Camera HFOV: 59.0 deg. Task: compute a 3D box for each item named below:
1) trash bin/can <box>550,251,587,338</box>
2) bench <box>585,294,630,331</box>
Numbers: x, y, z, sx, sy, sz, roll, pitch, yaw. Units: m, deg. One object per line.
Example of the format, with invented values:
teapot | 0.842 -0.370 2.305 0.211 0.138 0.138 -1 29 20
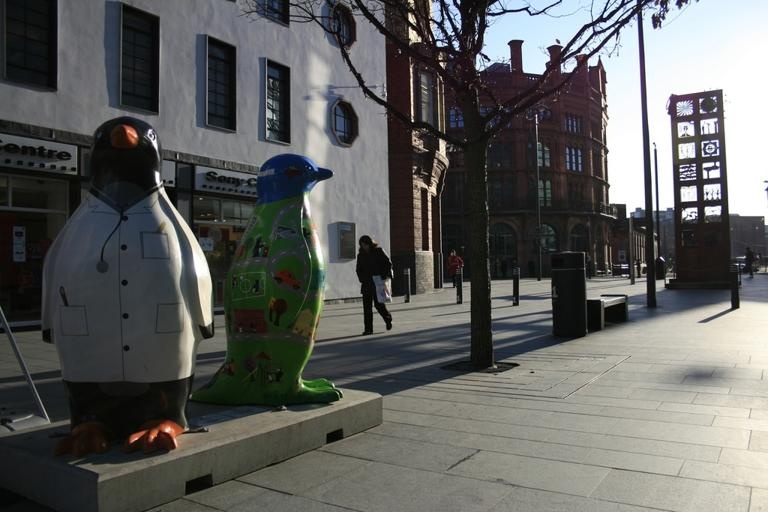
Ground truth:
trash bin/can | 3.643 0.766 13.409 0.655 1.576 0.469 -3 0 14
bench | 4.932 1.219 15.053 0.520 0.713 2.069 -3 0 31
